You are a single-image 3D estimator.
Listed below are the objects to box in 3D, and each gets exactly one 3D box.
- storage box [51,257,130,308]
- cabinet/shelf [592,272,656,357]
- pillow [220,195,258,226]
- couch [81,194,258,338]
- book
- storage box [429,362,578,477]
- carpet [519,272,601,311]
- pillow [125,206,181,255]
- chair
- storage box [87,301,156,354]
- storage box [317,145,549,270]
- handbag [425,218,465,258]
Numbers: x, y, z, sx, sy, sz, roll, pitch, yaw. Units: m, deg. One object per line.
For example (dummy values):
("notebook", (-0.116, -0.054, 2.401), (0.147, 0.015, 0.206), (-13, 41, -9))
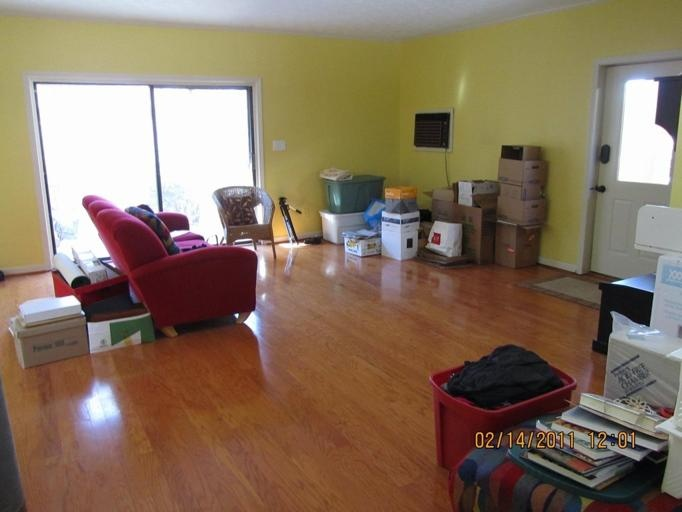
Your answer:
("storage box", (-2.171, 0.223, 4.469), (0.406, 0.327, 0.667), (-17, 32, -42))
("cabinet/shelf", (1.933, 0.420, 3.557), (0.348, 0.454, 0.475), (13, 21, 39))
("pillow", (-1.253, -0.547, 6.492), (0.360, 0.371, 0.110), (-14, 8, -36))
("couch", (-1.398, -0.362, 4.349), (1.003, 0.926, 1.851), (-11, 20, -28))
("book", (1.101, 0.739, 2.244), (0.480, 0.162, 0.368), (-10, 14, -33))
("storage box", (0.884, 0.776, 2.846), (0.725, 0.505, 0.495), (-10, 16, -23))
("carpet", (2.209, 0.334, 5.204), (0.712, 0.025, 0.773), (6, 20, 29))
("pillow", (-1.625, -0.223, 4.329), (0.179, 0.503, 0.434), (-23, -13, 14))
("chair", (-1.219, -0.482, 6.513), (0.900, 1.154, 0.833), (-4, 8, -23))
("storage box", (-1.824, 0.565, 4.278), (0.497, 0.298, 0.347), (-12, 19, -25))
("storage box", (1.331, -0.501, 6.036), (0.872, 1.433, 1.442), (-11, 15, -36))
("handbag", (1.241, -0.192, 6.133), (0.398, 0.354, 0.186), (14, -3, 45))
